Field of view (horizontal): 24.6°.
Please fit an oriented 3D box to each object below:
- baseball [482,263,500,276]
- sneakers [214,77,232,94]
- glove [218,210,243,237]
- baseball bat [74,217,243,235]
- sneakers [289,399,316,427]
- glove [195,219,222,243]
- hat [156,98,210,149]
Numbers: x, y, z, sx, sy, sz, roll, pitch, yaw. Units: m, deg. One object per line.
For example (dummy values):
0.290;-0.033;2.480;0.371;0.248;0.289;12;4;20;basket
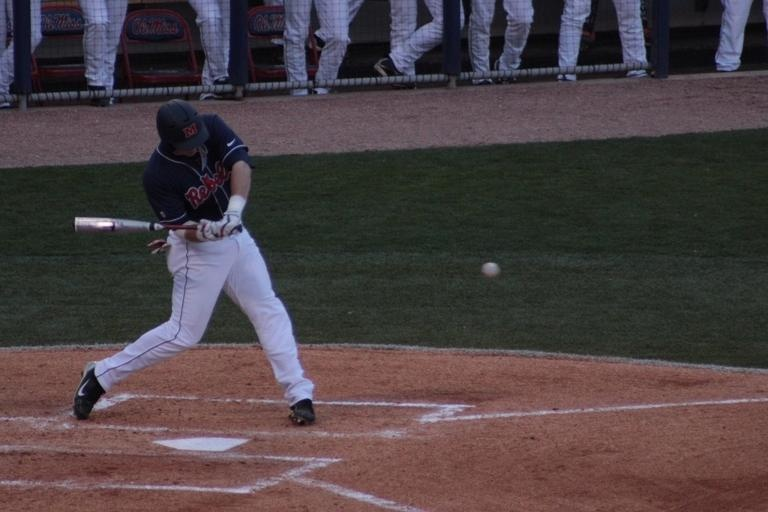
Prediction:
1.051;0.128;16.934;0.149;0.092;0.150;-1;2;44;baseball
-1.775;-1.860;19.404;0.234;0.190;0.167;-2;46;1;sneakers
-1.276;-0.267;14.584;0.222;0.208;0.121;-3;12;-18;glove
-1.888;-0.257;14.799;1.379;0.121;0.190;2;-3;-7;baseball bat
-0.665;1.321;14.680;0.158;0.121;0.295;1;0;-6;sneakers
-1.471;-0.212;14.552;0.185;0.175;0.092;-1;12;-11;glove
-1.675;-1.077;14.489;0.472;0.253;0.348;32;65;35;hat
